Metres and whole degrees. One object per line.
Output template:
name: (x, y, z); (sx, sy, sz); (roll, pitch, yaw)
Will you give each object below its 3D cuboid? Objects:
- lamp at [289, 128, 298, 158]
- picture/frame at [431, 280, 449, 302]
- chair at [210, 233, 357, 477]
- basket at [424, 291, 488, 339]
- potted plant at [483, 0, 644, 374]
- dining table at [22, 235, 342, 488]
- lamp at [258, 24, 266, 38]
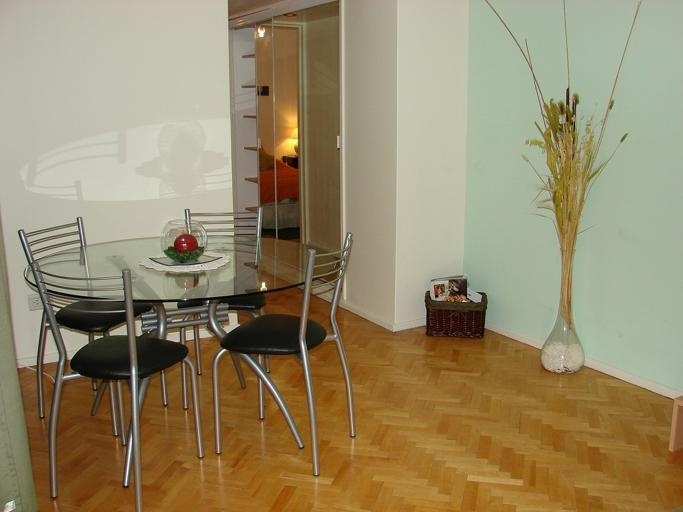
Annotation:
lamp: (-0.465, -1.131, 5.559); (0.044, 0.279, 0.140); (-12, 18, -26)
picture/frame: (0.791, 0.288, 4.550); (0.156, 0.208, 0.152); (2, 2, -11)
chair: (-0.303, 0.511, 3.164); (0.681, 1.132, 0.625); (3, 7, 18)
basket: (0.953, 0.480, 4.645); (0.486, 0.295, 0.371); (3, 11, 16)
potted plant: (1.476, -0.481, 3.923); (0.559, 2.516, 0.870); (-14, 19, -32)
dining table: (-0.913, 0.578, 3.073); (1.290, 0.802, 1.202); (-5, -3, -34)
lamp: (-0.854, -2.368, 5.889); (0.040, 0.129, 0.204); (-11, 17, -24)
